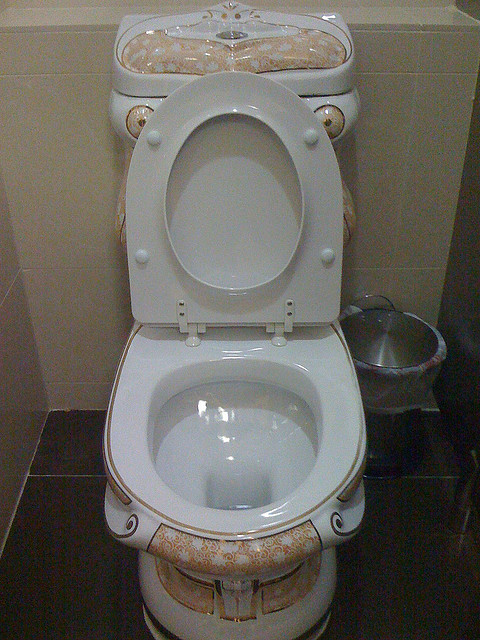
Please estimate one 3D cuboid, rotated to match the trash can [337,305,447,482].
[{"bbox_3d":[0.350,0.164,1.422,0.170,0.293,0.196,10,27,18],"label":"trash can"}]
